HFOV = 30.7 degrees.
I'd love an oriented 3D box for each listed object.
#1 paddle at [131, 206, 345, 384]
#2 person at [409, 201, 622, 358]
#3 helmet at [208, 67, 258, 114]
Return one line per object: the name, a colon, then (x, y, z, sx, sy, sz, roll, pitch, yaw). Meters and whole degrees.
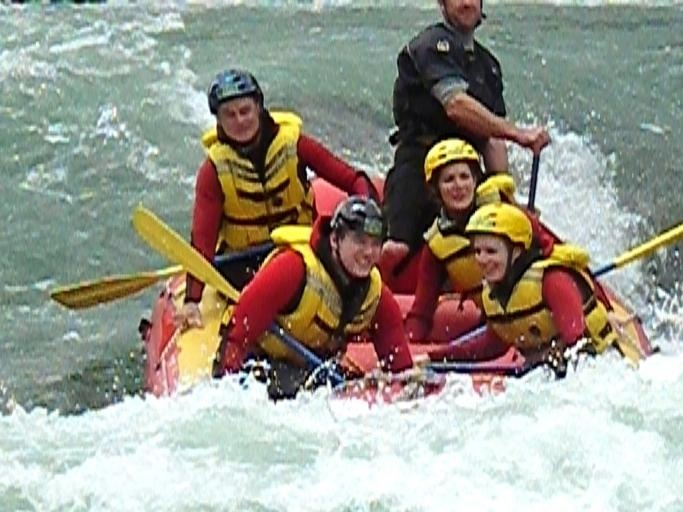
paddle: (-0.737, 0.297, 9.708, 0.294, 1.973, 0.100, -47, 13, -18)
person: (1.445, 0.189, 9.865, 0.935, 1.223, 1.423, -5, -6, -40)
helmet: (-0.862, -1.278, 10.018, 0.309, 0.280, 0.346, -15, -5, -8)
